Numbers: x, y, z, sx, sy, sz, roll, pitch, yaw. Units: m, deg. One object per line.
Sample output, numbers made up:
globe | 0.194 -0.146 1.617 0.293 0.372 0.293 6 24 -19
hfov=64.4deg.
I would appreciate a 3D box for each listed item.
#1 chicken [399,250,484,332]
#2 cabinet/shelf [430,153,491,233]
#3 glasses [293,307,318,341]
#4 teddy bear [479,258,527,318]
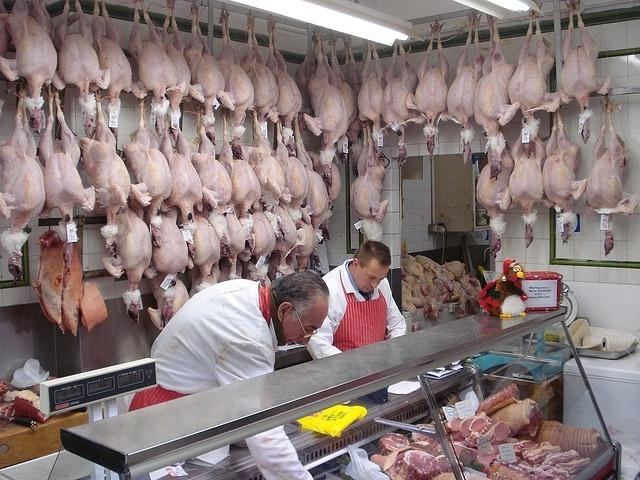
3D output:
chicken | 1.327 0.541 5.669 0.920 0.349 0.684 4 3 42
cabinet/shelf | 1.818 -0.493 7.083 0.564 1.147 0.676 2 -19 -2
glasses | -0.070 0.359 2.157 0.032 0.128 0.116 -10 -15 8
teddy bear | 1.127 0.287 3.121 0.249 0.371 0.306 -6 -2 36
